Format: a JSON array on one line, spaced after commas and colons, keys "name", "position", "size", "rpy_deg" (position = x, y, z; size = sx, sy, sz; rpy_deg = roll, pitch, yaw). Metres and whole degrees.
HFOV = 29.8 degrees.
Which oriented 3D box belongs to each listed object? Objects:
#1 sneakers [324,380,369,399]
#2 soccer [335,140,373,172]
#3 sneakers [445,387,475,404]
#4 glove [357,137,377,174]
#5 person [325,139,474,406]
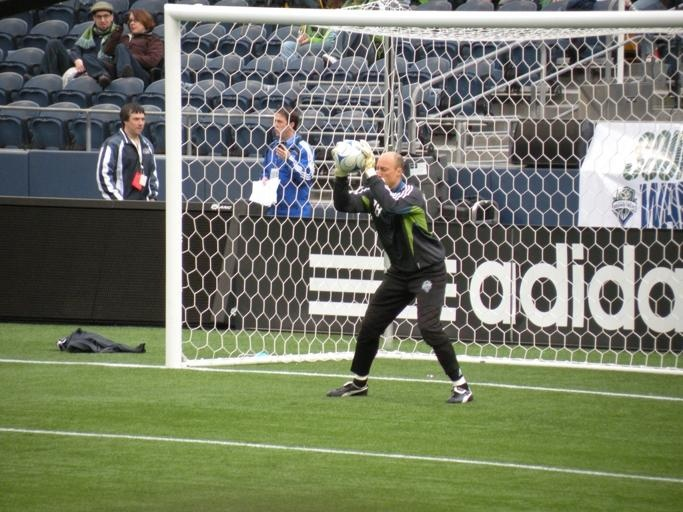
[{"name": "sneakers", "position": [0.052, 1.388, 13.160], "size": [0.437, 0.176, 0.157], "rpy_deg": [1, -5, -8]}, {"name": "soccer", "position": [0.117, -1.000, 12.970], "size": [0.419, 0.340, 0.218], "rpy_deg": [0, 0, -15]}, {"name": "sneakers", "position": [1.194, 1.408, 12.905], "size": [0.248, 0.121, 0.137], "rpy_deg": [-2, -3, 16]}, {"name": "glove", "position": [0.278, -0.995, 12.995], "size": [0.096, 0.298, 0.219], "rpy_deg": [-5, 11, -16]}, {"name": "person", "position": [0.585, 0.209, 13.053], "size": [1.370, 2.557, 0.553], "rpy_deg": [0, 0, -1]}]
